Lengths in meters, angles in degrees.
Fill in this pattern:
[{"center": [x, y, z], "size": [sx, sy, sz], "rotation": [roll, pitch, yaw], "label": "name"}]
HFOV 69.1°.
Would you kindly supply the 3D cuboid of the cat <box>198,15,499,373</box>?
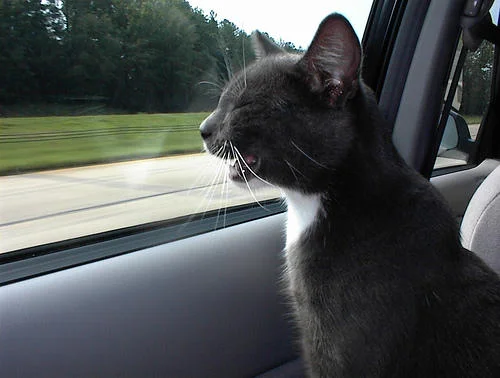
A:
[{"center": [0.349, 0.050, 1.301], "size": [1.051, 1.198, 0.395], "rotation": [15, 17, 34], "label": "cat"}]
